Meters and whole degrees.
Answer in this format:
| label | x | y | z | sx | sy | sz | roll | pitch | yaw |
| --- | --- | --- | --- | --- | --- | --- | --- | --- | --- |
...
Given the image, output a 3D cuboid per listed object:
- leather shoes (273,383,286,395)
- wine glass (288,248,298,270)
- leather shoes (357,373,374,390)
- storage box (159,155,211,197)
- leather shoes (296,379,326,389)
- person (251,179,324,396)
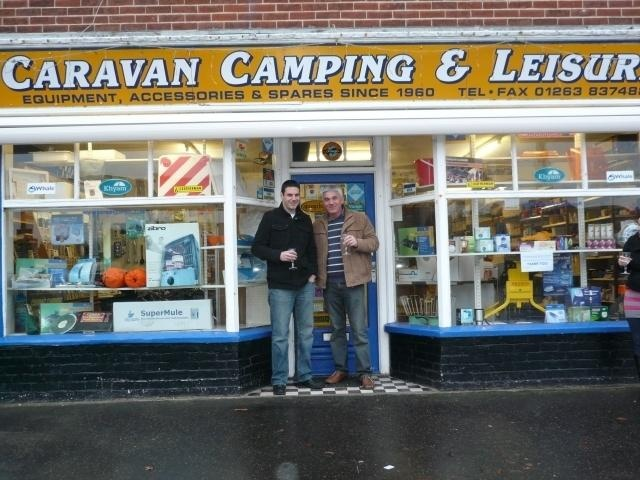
| label | x | y | z | sx | sy | sz | roll | pitch | yaw |
| --- | --- | --- | --- | --- | --- | --- | --- | --- | --- |
| leather shoes | -0.492 | 1.808 | 8.249 | 0.153 | 0.114 | 0.228 | -2 | 10 | -3 |
| wine glass | -0.326 | 0.236 | 8.248 | 0.099 | 0.264 | 0.233 | -2 | 10 | -3 |
| leather shoes | 0.573 | 1.749 | 8.425 | 0.173 | 0.144 | 0.304 | -1 | 10 | 1 |
| storage box | -1.794 | -0.840 | 8.659 | 0.710 | 0.542 | 0.389 | -4 | 14 | -33 |
| leather shoes | -0.115 | 1.802 | 8.445 | 0.243 | 0.075 | 0.144 | -2 | -4 | 8 |
| person | -0.376 | 0.580 | 8.342 | 0.796 | 2.560 | 0.693 | -4 | 11 | -16 |
